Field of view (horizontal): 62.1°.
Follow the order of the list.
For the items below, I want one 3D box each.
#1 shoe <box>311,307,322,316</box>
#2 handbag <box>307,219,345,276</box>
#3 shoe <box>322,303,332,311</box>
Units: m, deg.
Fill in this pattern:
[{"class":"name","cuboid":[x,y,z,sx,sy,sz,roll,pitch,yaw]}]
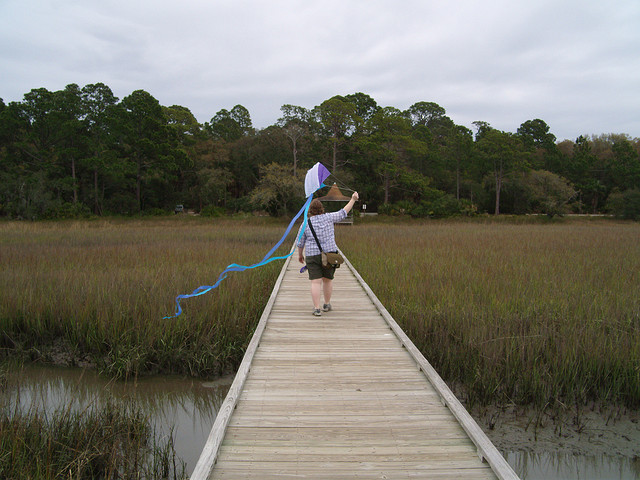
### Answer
[{"class":"shoe","cuboid":[-0.075,1.266,9.401,0.141,0.131,0.279,-2,3,-7]},{"class":"handbag","cuboid":[0.119,0.128,8.980,0.608,0.972,0.483,-3,4,-17]},{"class":"shoe","cuboid":[0.118,1.220,9.699,0.145,0.124,0.219,-2,3,10]}]
